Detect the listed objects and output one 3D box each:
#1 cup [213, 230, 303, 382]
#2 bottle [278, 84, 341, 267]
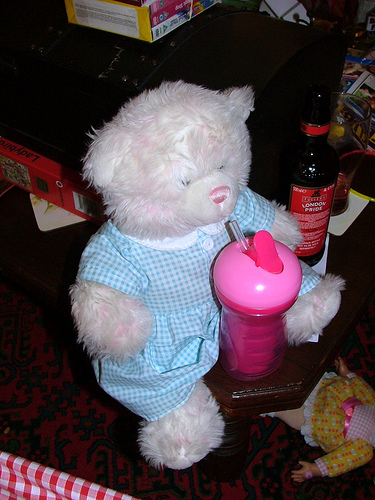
[{"bbox_3d":[0.085,0.069,0.552,0.093,0.239,0.112,18,53,20],"label":"cup"},{"bbox_3d":[0.175,-0.105,0.690,0.104,0.285,0.086,13,42,20],"label":"bottle"}]
